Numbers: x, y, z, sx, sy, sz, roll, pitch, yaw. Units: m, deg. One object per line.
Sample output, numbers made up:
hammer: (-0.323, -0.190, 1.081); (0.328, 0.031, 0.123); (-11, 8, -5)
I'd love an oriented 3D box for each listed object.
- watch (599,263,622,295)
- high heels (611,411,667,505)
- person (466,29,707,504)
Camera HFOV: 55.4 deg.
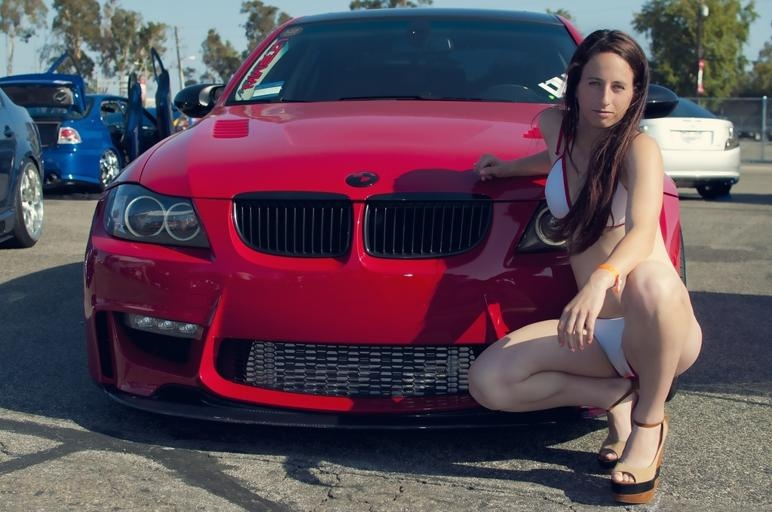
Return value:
watch: (0.931, 0.087, 3.011); (0.031, 0.104, 0.085); (-26, 14, -11)
high heels: (1.131, 0.875, 3.228); (0.136, 0.183, 0.458); (5, 19, 28)
person: (0.909, 0.013, 3.182); (0.887, 1.923, 0.679); (6, 13, 24)
